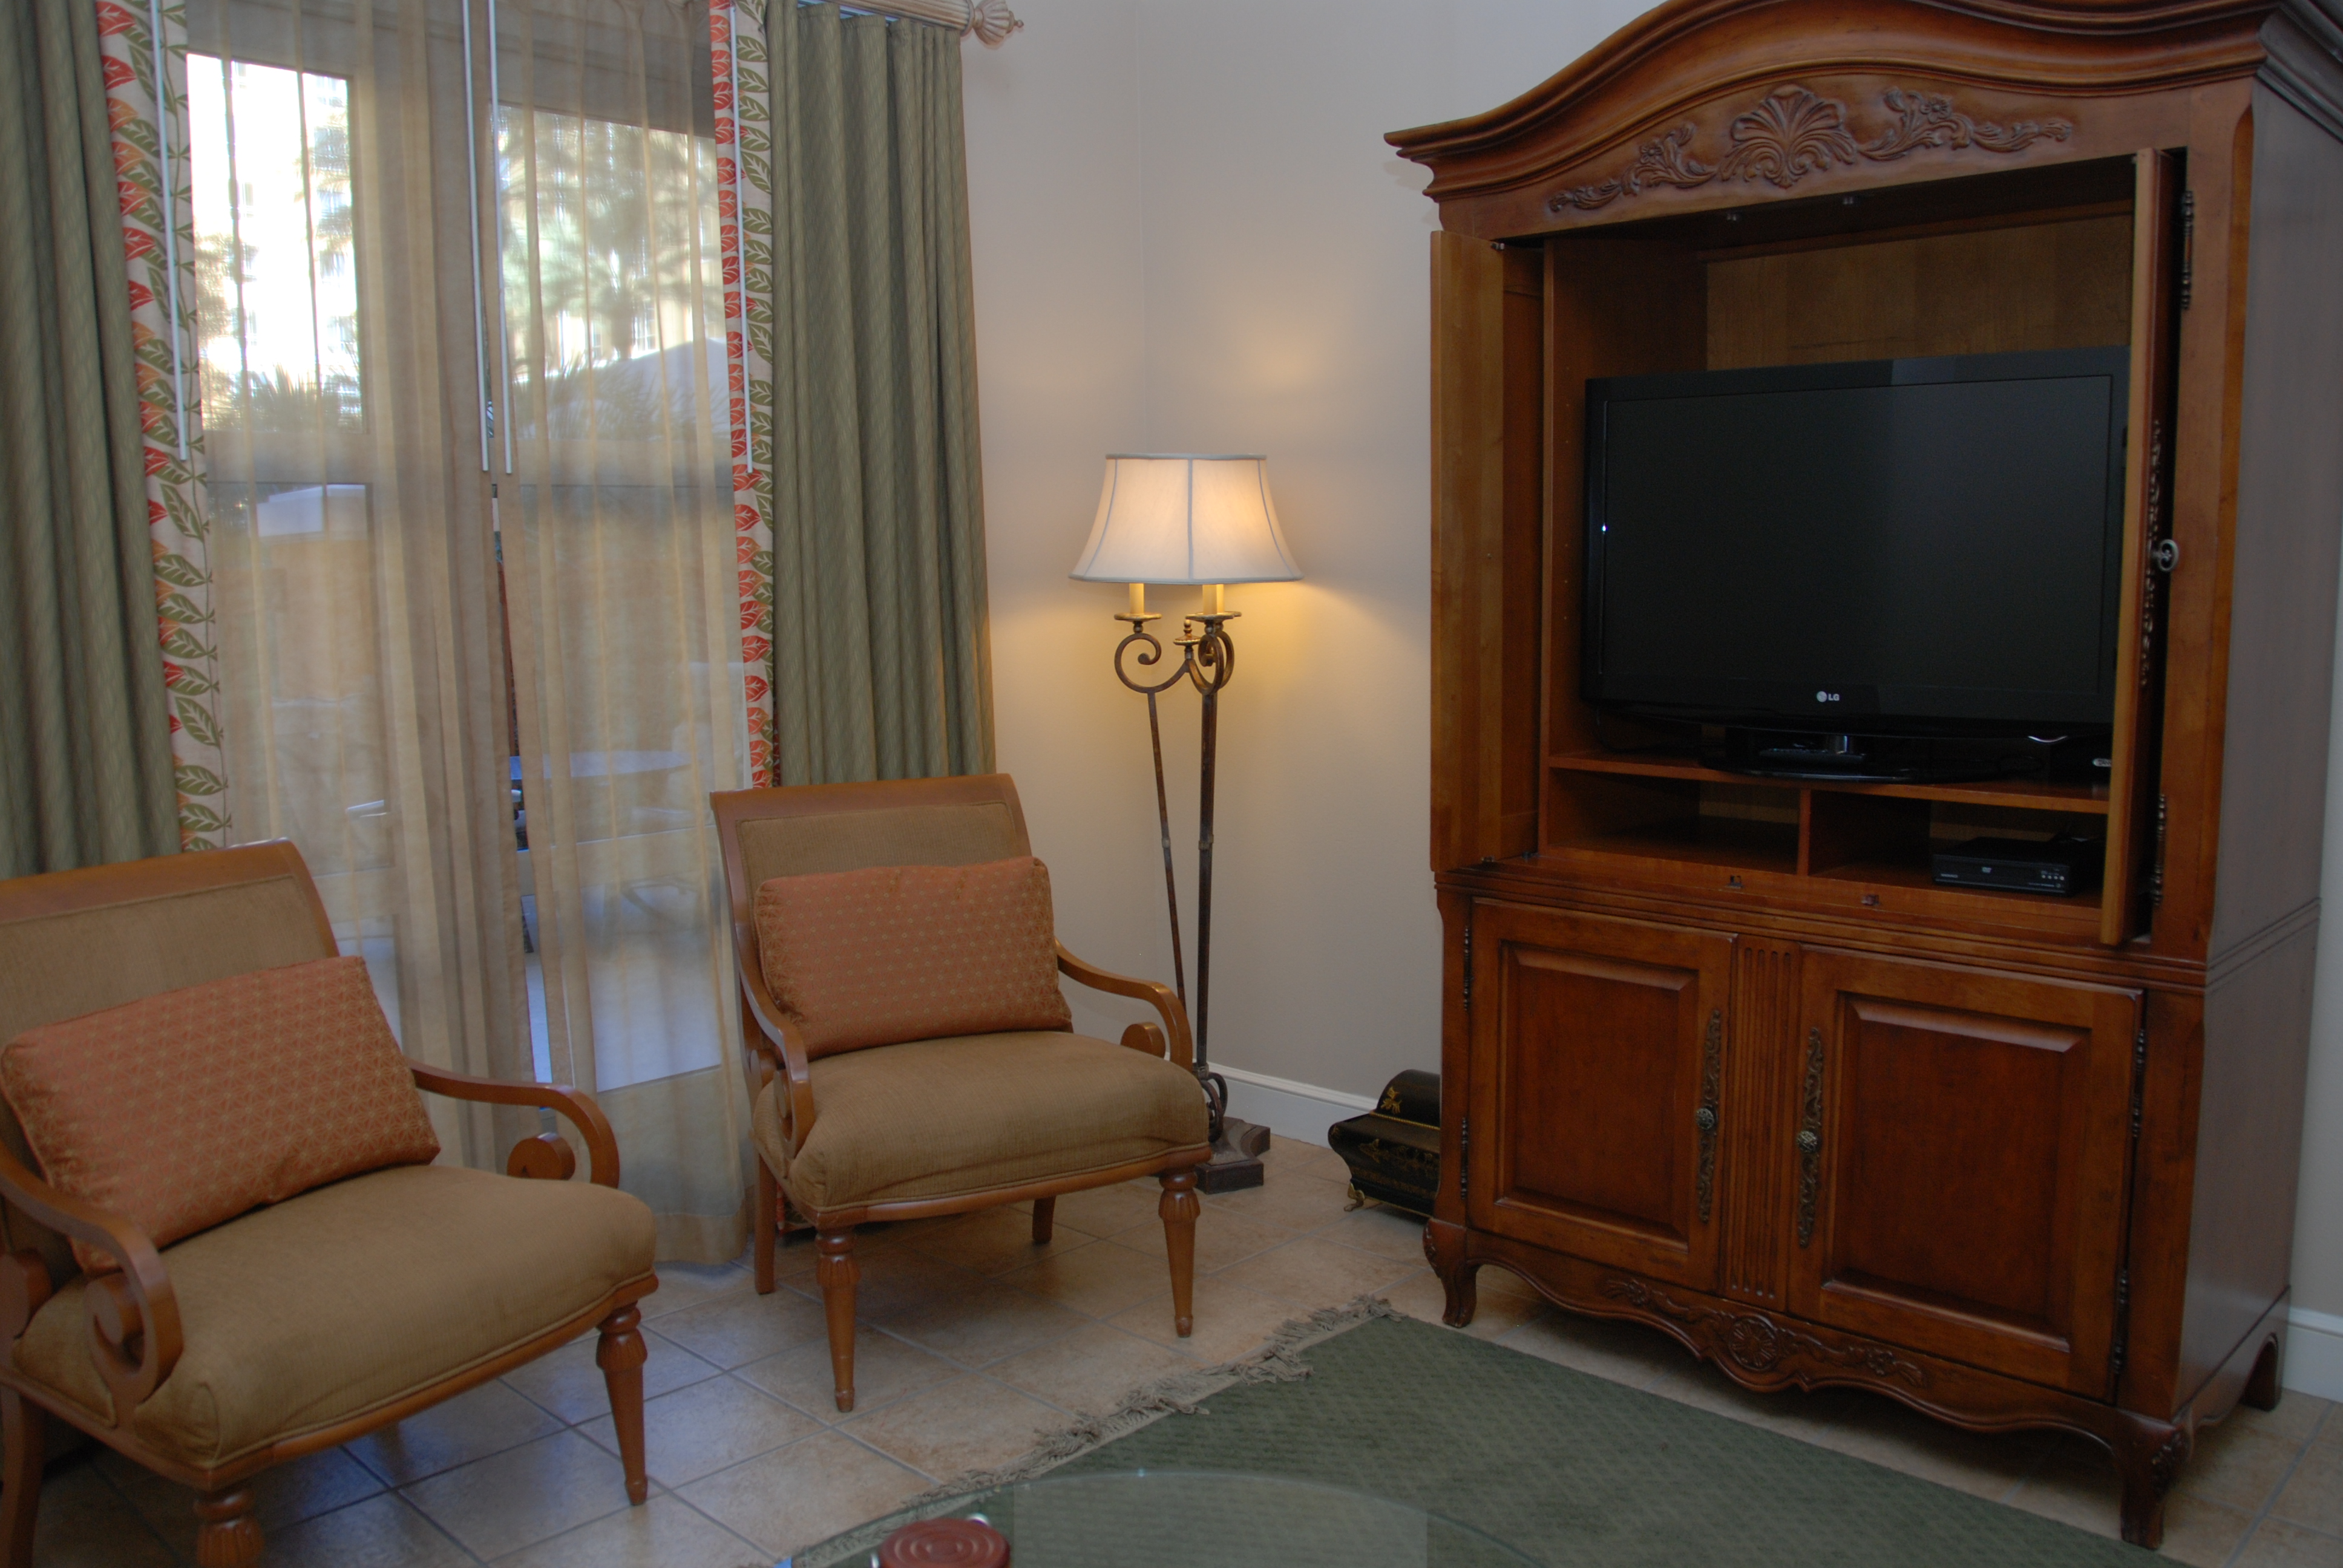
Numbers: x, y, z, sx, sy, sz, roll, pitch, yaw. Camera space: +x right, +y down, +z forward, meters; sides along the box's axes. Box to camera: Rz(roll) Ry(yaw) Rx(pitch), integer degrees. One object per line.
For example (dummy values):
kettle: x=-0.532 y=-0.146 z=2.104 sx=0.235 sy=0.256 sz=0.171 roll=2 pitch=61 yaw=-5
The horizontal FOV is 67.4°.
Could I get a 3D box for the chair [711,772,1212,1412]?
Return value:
chair: x=-0.560 y=0.578 z=4.255 sx=1.195 sy=1.452 sz=1.282 roll=-3 pitch=4 yaw=-31
